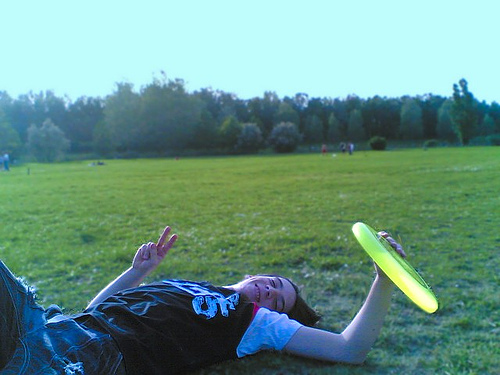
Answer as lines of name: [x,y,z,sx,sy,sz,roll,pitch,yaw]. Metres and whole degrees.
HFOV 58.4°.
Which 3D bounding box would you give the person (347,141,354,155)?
person: [5.567,-2.235,24.678,0.354,0.652,1.084,-2,9,12]
